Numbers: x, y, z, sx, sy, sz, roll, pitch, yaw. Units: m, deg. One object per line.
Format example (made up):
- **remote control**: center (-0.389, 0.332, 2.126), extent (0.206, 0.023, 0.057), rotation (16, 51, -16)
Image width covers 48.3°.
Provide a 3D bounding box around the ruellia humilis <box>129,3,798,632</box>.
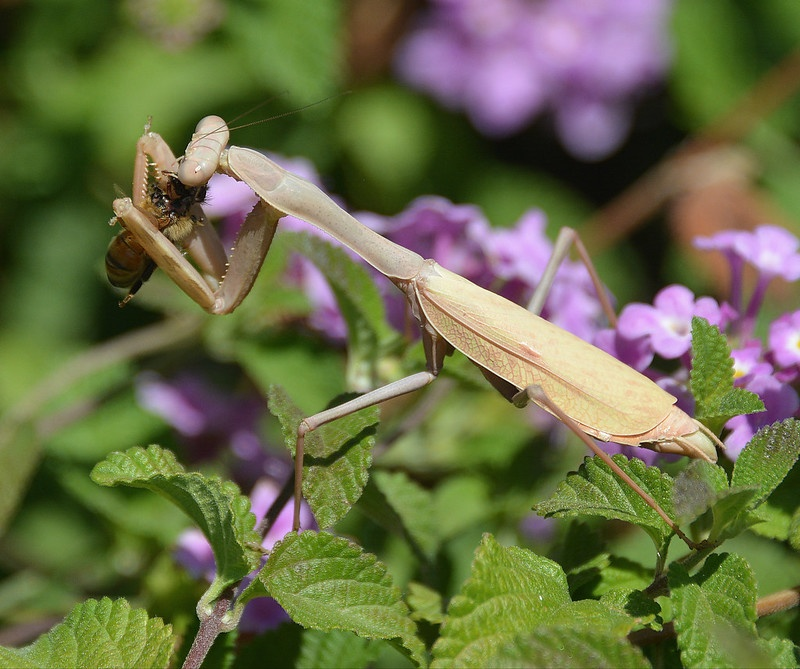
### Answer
- **ruellia humilis**: center (-0.001, -0.035, 2.240), extent (1.552, 0.559, 0.563), rotation (16, 50, 17)
